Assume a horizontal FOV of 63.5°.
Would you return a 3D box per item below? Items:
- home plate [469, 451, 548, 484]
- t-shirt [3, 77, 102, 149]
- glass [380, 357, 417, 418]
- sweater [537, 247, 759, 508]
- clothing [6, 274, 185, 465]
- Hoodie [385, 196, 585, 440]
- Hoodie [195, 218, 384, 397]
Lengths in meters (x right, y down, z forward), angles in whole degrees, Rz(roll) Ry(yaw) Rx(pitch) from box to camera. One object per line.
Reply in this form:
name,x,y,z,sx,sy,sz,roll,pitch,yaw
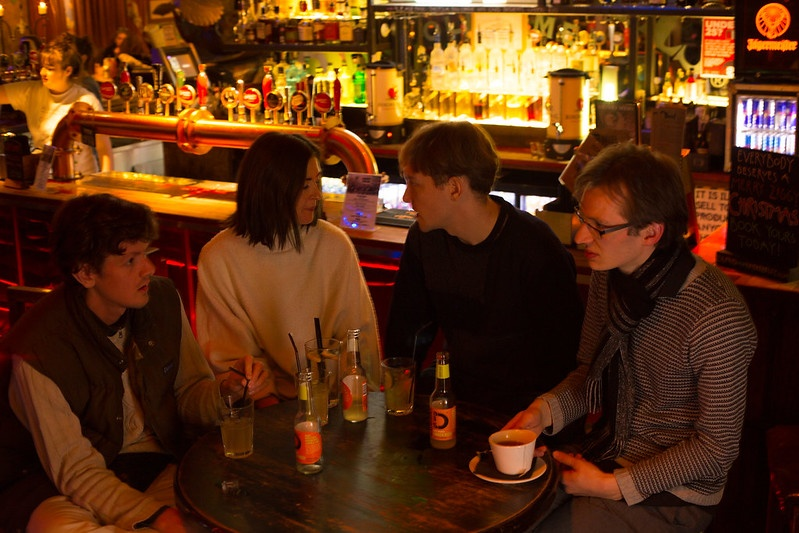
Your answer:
home plate,0.351,0.658,2.080,0.133,0.023,0.129,-4,15,-8
t-shirt,-3.119,-1.401,5.875,1.236,0.516,0.314,7,14,24
glass,-0.006,0.453,2.427,0.152,0.207,0.140,-6,11,-24
sweater,0.917,0.429,2.361,0.646,0.823,0.847,-6,22,-9
clothing,-1.167,0.420,2.503,0.346,0.600,0.662,12,16,31
Hoodie,0.370,0.239,2.769,1.098,1.034,0.463,4,4,28
Hoodie,-0.524,0.201,2.976,0.818,0.755,0.416,-5,10,-12
